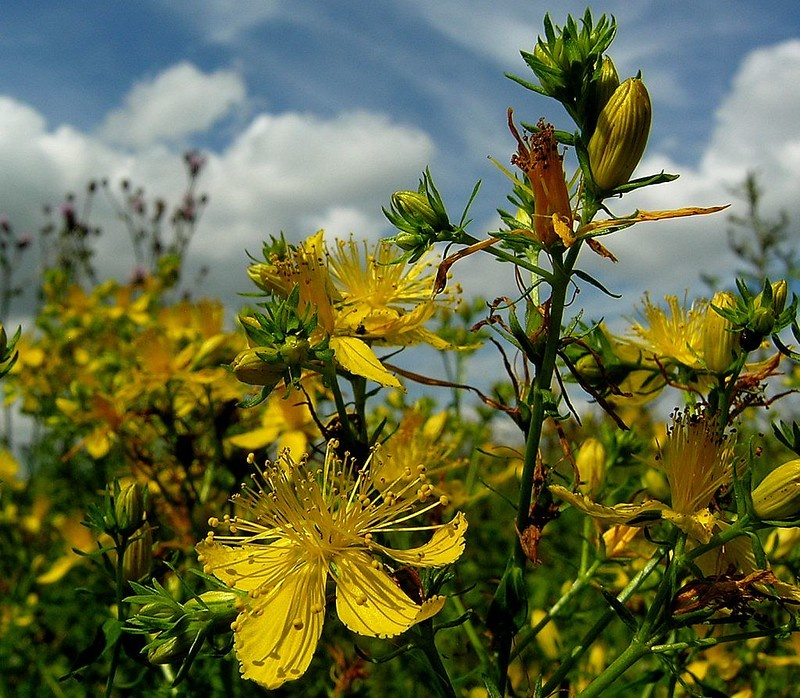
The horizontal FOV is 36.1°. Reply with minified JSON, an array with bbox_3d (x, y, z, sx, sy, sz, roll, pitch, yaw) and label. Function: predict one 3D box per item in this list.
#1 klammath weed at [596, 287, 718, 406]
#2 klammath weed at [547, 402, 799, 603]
[{"bbox_3d":[0.956,0.010,4.385,0.415,0.359,0.476,-1,17,27],"label":"klammath weed"},{"bbox_3d":[0.936,0.507,4.018,0.713,0.585,0.419,-8,15,7],"label":"klammath weed"}]
